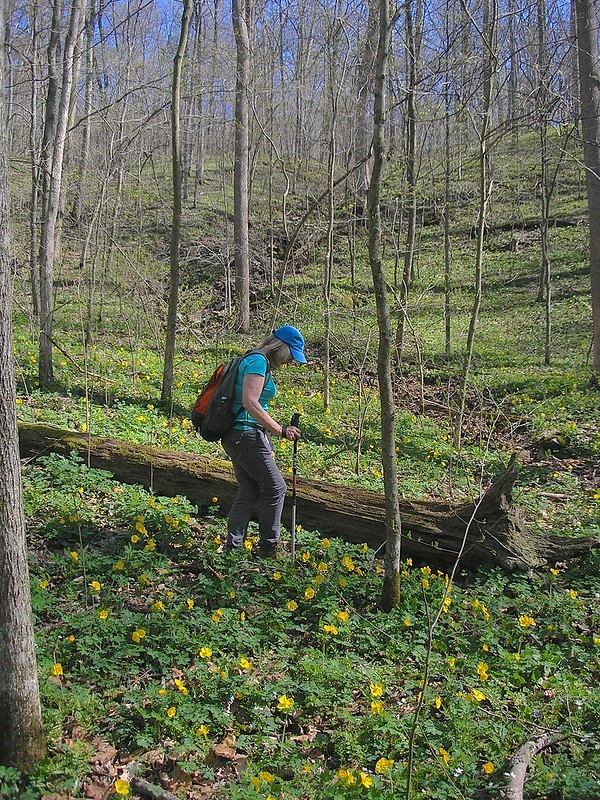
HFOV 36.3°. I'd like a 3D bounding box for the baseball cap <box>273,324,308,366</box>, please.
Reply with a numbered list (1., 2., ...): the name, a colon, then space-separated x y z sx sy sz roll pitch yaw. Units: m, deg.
1. baseball cap: -0.056 -0.402 6.113 0.284 0.155 0.179 43 8 -6
